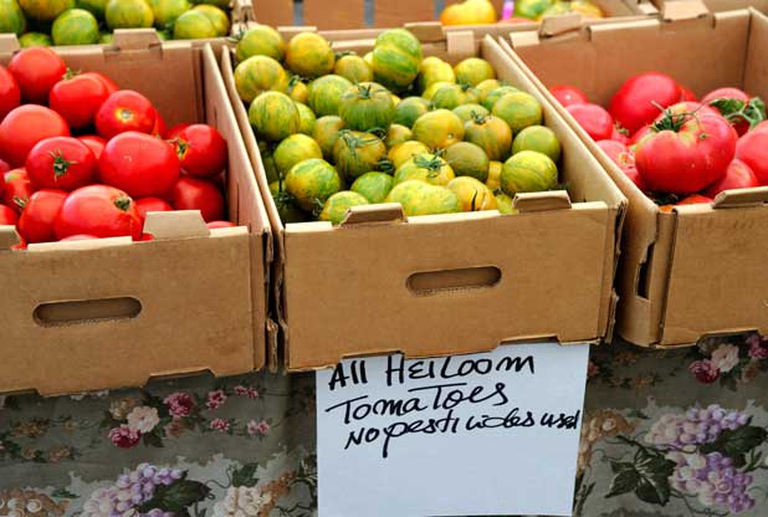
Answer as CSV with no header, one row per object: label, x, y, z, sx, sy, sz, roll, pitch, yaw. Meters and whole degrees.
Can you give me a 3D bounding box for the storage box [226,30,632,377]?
storage box,0.118,-0.227,1.918,0.660,0.334,0.777,-6,47,-13
